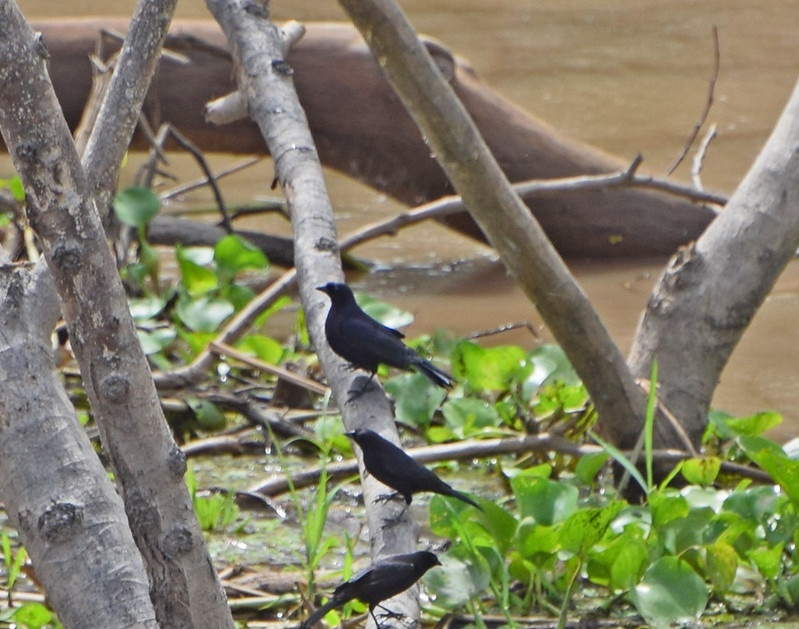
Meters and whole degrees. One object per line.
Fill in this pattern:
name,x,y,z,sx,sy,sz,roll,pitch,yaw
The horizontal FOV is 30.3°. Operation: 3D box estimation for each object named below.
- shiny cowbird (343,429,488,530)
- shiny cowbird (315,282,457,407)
shiny cowbird,0.022,0.272,2.554,0.245,0.135,0.080,6,4,-9
shiny cowbird,-0.033,0.045,2.765,0.283,0.179,0.095,11,14,-9
